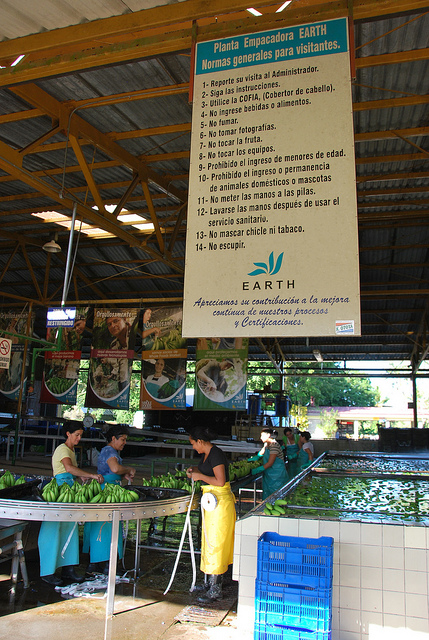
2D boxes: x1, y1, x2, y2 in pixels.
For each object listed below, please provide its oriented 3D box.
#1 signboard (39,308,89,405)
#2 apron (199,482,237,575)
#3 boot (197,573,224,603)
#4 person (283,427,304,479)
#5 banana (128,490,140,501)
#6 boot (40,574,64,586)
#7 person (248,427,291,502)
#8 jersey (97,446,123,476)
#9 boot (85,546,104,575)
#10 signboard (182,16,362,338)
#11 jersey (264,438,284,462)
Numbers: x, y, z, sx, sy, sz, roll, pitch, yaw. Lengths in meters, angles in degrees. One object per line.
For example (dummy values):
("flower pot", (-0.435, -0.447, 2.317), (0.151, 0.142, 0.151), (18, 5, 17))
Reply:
("signboard", (-3.754, 0.889, 11.192), (1.010, 2.470, 0.039), (1, -13, 10))
("apron", (0.034, 1.743, 3.746), (0.251, 0.806, 0.255), (2, -7, -7))
("boot", (-0.023, 2.159, 3.721), (0.250, 0.212, 0.200), (9, -14, -18))
("person", (1.480, 2.600, 8.650), (0.394, 1.162, 0.354), (-2, 10, 24))
("banana", (-0.628, 1.338, 3.493), (0.064, 0.026, 0.079), (24, 0, -9))
("boot", (-1.416, 2.198, 3.899), (0.209, 0.094, 0.077), (-1, 1, 16))
("person", (0.799, 2.254, 6.650), (0.581, 1.309, 0.402), (-3, 5, -9))
("jersey", (-1.033, 1.361, 4.426), (0.214, 0.273, 0.328), (8, -14, -13))
("boot", (-1.137, 2.297, 4.311), (0.095, 0.220, 0.228), (-5, -11, 32))
("signboard", (0.234, -0.611, 1.928), (0.725, 1.427, 0.022), (-1, -10, 15))
("jersey", (0.861, 1.883, 6.603), (0.273, 0.271, 0.497), (3, -13, 7))
